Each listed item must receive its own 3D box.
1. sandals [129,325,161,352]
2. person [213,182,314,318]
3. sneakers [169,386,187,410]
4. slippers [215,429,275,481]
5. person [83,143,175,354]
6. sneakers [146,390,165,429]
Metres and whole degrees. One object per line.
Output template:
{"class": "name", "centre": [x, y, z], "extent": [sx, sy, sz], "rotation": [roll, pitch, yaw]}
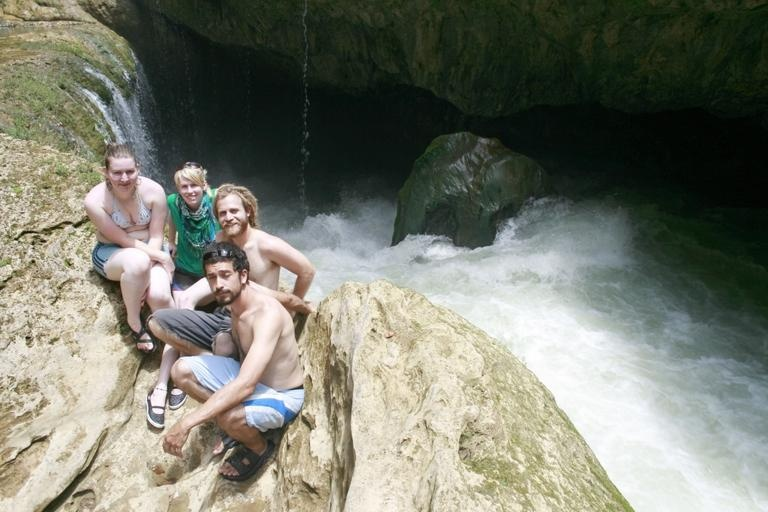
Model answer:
{"class": "sandals", "centre": [-2.894, 1.043, 7.008], "extent": [0.190, 0.167, 0.409], "rotation": [-38, 71, -23]}
{"class": "person", "centre": [-1.533, -0.040, 6.699], "extent": [1.301, 1.743, 0.818], "rotation": [3, 23, 5]}
{"class": "sneakers", "centre": [-2.482, 1.665, 6.948], "extent": [0.148, 0.165, 0.400], "rotation": [-2, 20, -10]}
{"class": "slippers", "centre": [-1.497, 2.245, 6.348], "extent": [0.301, 0.276, 0.638], "rotation": [38, 74, 22]}
{"class": "person", "centre": [-2.925, -0.078, 6.812], "extent": [0.792, 2.253, 1.040], "rotation": [-21, 40, -39]}
{"class": "sneakers", "centre": [-2.728, 1.893, 6.911], "extent": [0.221, 0.204, 0.595], "rotation": [13, -1, -21]}
